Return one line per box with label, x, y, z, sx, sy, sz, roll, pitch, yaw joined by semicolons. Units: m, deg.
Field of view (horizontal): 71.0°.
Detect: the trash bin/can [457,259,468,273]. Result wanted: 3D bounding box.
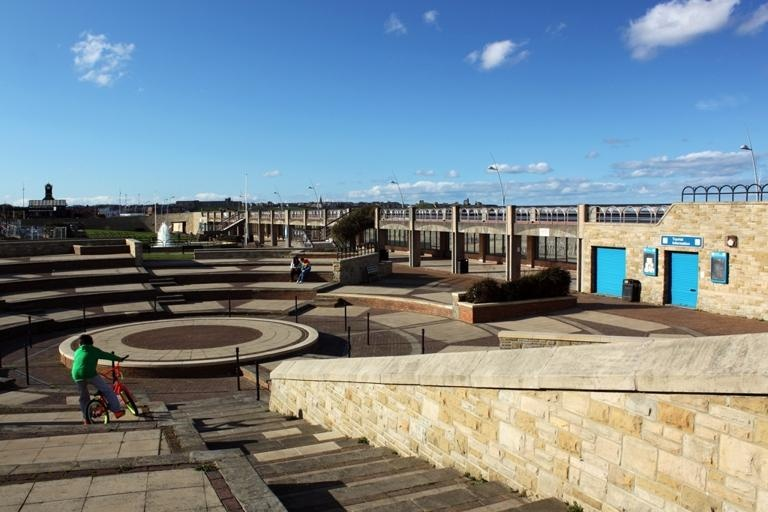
trash bin/can;5.677;0.746;37.982;0.414;1.047;1.031;-8;-2;36
